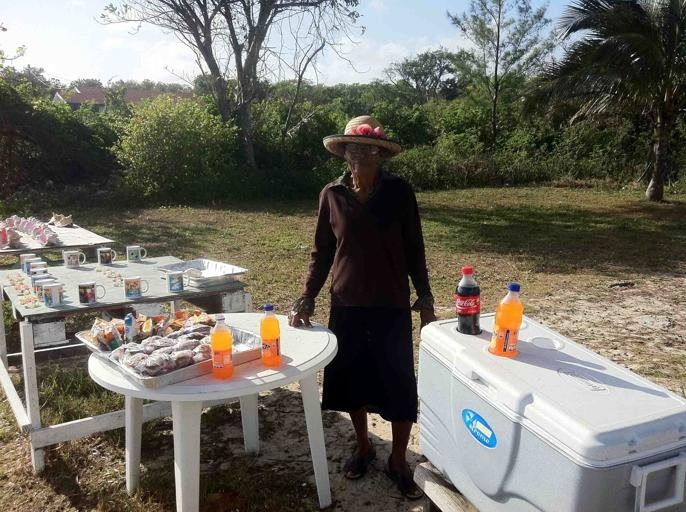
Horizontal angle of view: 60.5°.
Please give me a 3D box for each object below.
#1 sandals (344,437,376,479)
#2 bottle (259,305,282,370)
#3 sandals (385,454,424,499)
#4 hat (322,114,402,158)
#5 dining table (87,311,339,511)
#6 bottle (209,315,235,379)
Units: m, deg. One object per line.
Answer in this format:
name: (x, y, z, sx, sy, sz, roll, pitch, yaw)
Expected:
sandals: (0.135, 1.573, 4.555, 0.151, 0.146, 0.331, -4, -1, 21)
bottle: (-0.470, 0.515, 3.836, 0.131, 0.383, 0.221, -3, 10, -8)
sandals: (0.453, 1.650, 4.399, 0.142, 0.141, 0.338, -10, 12, -28)
hat: (0.166, -0.909, 4.441, 0.598, 0.242, 0.584, 8, 2, -7)
dining table: (-0.825, 0.898, 3.984, 1.456, 1.016, 1.482, -8, 16, -31)
bottle: (-0.755, 0.570, 3.685, 0.140, 0.383, 0.164, -3, 10, -13)
